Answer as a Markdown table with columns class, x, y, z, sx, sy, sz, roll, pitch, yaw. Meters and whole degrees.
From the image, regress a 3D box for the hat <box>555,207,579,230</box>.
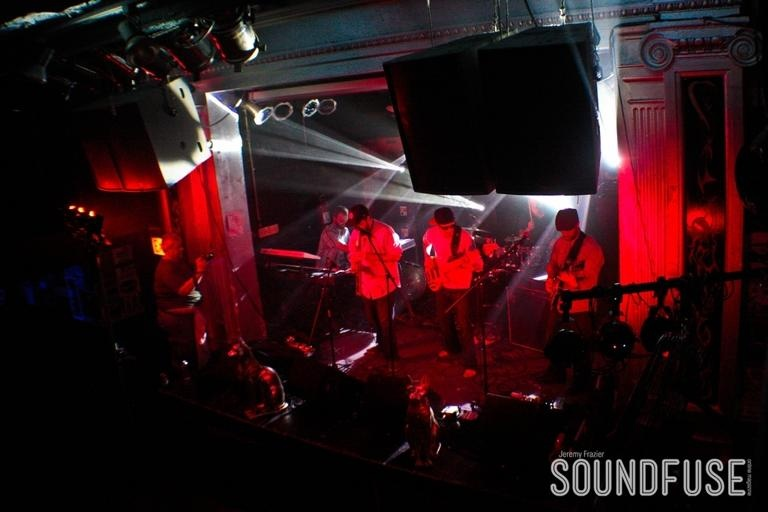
| class | x | y | z | sx | sy | sz | roll | pitch | yaw |
| --- | --- | --- | --- | --- | --- | --- | --- | --- | --- |
| hat | 2.076 | -0.439 | 5.818 | 0.197 | 0.151 | 0.285 | -3 | 23 | 36 |

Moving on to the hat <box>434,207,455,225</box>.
| class | x | y | z | sx | sy | sz | roll | pitch | yaw |
| --- | --- | --- | --- | --- | --- | --- | --- | --- | --- |
| hat | 0.755 | -0.513 | 6.399 | 0.235 | 0.212 | 0.221 | 0 | 8 | 7 |

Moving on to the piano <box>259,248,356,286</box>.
| class | x | y | z | sx | sy | sz | roll | pitch | yaw |
| --- | --- | --- | --- | --- | --- | --- | --- | --- | --- |
| piano | -1.148 | 0.137 | 7.593 | 1.520 | 0.469 | 0.576 | 6 | 11 | 40 |

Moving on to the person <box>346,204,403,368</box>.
| class | x | y | z | sx | sy | sz | roll | pitch | yaw |
| --- | --- | --- | --- | --- | --- | --- | --- | --- | --- |
| person | -0.094 | 0.397 | 6.662 | 0.676 | 2.148 | 1.324 | -2 | 8 | -3 |

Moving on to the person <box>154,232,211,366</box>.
| class | x | y | z | sx | sy | sz | roll | pitch | yaw |
| --- | --- | --- | --- | --- | --- | --- | --- | --- | --- |
| person | -2.428 | 0.578 | 6.180 | 0.562 | 1.680 | 0.452 | -5 | 9 | -25 |

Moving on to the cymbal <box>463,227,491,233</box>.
| class | x | y | z | sx | sy | sz | roll | pitch | yaw |
| --- | --- | --- | --- | --- | --- | --- | --- | --- | --- |
| cymbal | 1.643 | -0.454 | 8.855 | 0.222 | 0.072 | 0.220 | -7 | 17 | -27 |

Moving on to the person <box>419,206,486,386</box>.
| class | x | y | z | sx | sy | sz | roll | pitch | yaw |
| --- | --- | --- | --- | --- | --- | --- | --- | --- | --- |
| person | 0.891 | 0.421 | 6.609 | 0.777 | 2.125 | 0.493 | 4 | 10 | 35 |

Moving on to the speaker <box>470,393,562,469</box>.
| class | x | y | z | sx | sy | sz | roll | pitch | yaw |
| --- | --- | --- | --- | --- | --- | --- | --- | --- | --- |
| speaker | 1.075 | 1.371 | 3.997 | 0.602 | 0.469 | 0.291 | 1 | 9 | 16 |

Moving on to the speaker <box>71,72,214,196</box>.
| class | x | y | z | sx | sy | sz | roll | pitch | yaw |
| --- | --- | --- | --- | --- | --- | --- | --- | --- | --- |
| speaker | -2.319 | -1.125 | 5.492 | 1.162 | 1.133 | 1.217 | -14 | 14 | 43 |

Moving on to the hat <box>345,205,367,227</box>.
| class | x | y | z | sx | sy | sz | roll | pitch | yaw |
| --- | --- | --- | --- | --- | --- | --- | --- | --- | --- |
| hat | -0.315 | -0.523 | 6.530 | 0.244 | 0.281 | 0.240 | -1 | 8 | 1 |
